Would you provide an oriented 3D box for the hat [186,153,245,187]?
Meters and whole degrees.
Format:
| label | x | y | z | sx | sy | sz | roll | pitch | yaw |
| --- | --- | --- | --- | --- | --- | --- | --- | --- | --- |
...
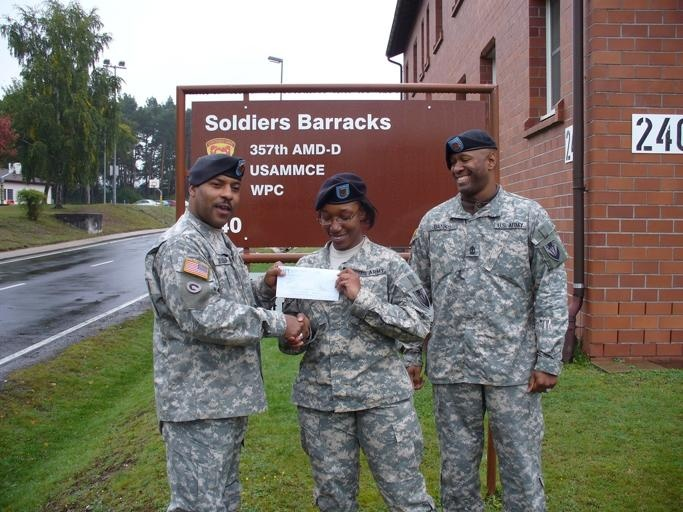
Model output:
| label | x | y | z | sx | sy | sz | roll | pitch | yaw |
| --- | --- | --- | --- | --- | --- | --- | --- | --- | --- |
| hat | -0.859 | -0.596 | 3.725 | 0.389 | 0.178 | 0.306 | -23 | 4 | -38 |

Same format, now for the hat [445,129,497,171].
| label | x | y | z | sx | sy | sz | roll | pitch | yaw |
| --- | --- | --- | --- | --- | --- | --- | --- | --- | --- |
| hat | 0.949 | -0.777 | 3.948 | 0.381 | 0.193 | 0.321 | -11 | -5 | 12 |
